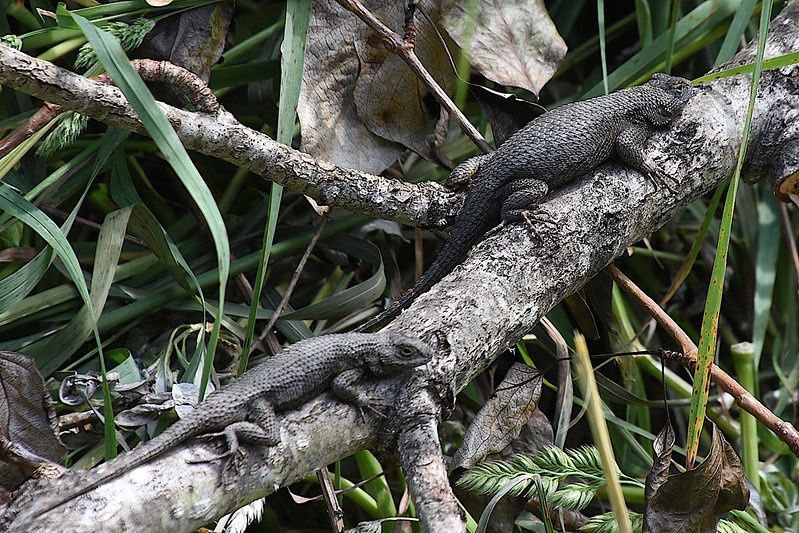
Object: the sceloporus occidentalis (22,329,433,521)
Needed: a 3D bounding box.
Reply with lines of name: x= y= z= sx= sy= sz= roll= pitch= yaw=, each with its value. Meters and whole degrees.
sceloporus occidentalis: x=-0.327 y=0.322 z=1.669 sx=0.849 sy=0.120 sz=0.216 roll=-28 pitch=62 yaw=-20
